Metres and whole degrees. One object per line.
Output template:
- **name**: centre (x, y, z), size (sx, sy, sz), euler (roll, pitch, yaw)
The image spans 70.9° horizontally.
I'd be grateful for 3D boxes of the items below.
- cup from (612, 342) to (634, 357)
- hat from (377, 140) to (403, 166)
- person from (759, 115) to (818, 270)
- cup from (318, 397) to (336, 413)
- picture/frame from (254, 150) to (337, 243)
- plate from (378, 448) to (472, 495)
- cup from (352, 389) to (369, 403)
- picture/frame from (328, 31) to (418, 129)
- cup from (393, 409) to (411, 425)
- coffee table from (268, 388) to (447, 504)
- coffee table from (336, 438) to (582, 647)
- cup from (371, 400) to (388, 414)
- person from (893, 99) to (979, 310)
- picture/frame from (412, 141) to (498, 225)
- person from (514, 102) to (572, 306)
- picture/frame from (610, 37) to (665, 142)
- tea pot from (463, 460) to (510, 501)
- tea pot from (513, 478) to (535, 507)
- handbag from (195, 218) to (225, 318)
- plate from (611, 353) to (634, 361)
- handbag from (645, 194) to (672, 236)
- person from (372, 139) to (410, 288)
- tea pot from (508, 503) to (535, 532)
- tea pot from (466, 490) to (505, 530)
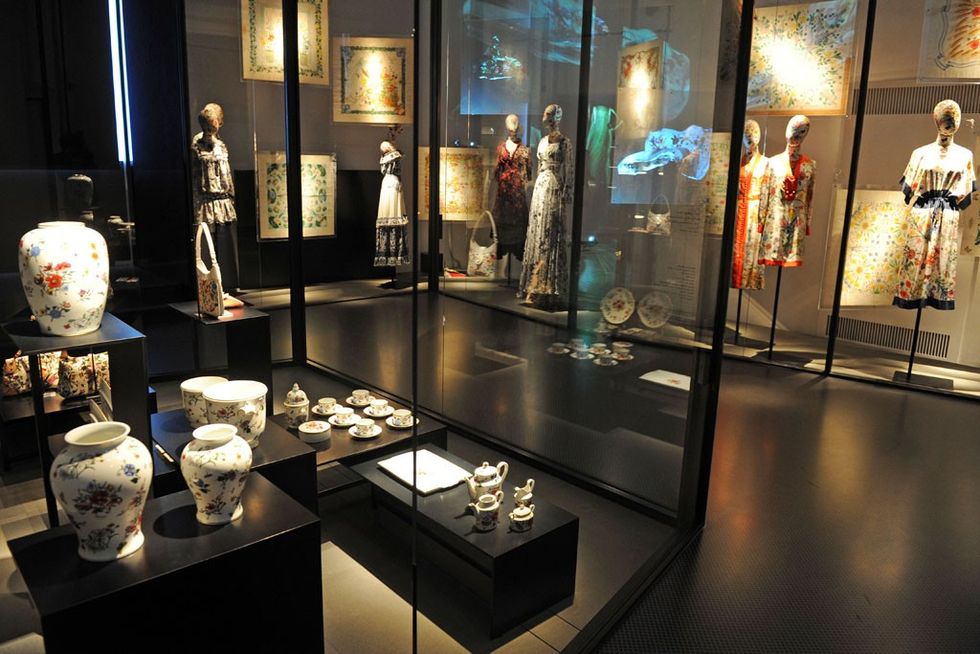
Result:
- **cup**: centre (0.711, 0.119, 3.715), size (0.082, 0.078, 0.082), euler (-1, 7, 0)
- **hat**: centre (-0.767, -1.304, 5.212), size (0.132, 0.117, 0.187), euler (-28, 32, -29)
- **person**: centre (2.704, -1.223, 6.269), size (0.444, 1.345, 0.296), euler (6, 15, 18)
- **cup**: centre (-0.986, 0.474, 4.164), size (0.089, 0.066, 0.089), euler (2, 8, 0)
- **picture/frame**: centre (-1.576, -1.069, 5.555), size (0.721, 0.744, 0.035), euler (-1, 4, -18)
- **plate**: centre (-0.350, 0.732, 3.586), size (0.333, 0.064, 0.463), euler (-18, 25, -40)
- **cup**: centre (-0.816, 0.437, 4.332), size (0.082, 0.059, 0.082), euler (2, 5, 0)
- **picture/frame**: centre (-0.836, -1.805, 5.071), size (0.789, 0.632, 0.195), euler (11, 17, 33)
- **cup**: centre (-0.518, 0.534, 4.071), size (0.084, 0.066, 0.091), euler (1, 3, 0)
- **coffee table**: centre (-0.727, 0.671, 3.888), size (0.703, 0.183, 0.764), euler (-15, 24, -37)
- **coffee table**: centre (-0.188, 1.058, 3.466), size (1.117, 0.606, 0.725), euler (13, 19, 39)
- **cup**: centre (-0.682, 0.494, 4.215), size (0.071, 0.033, 0.070), euler (1, 8, 0)
- **person**: centre (3.703, -0.991, 5.763), size (0.502, 1.703, 0.236), euler (9, 17, 29)
- **picture/frame**: centre (-0.184, -0.821, 3.895), size (0.554, 0.553, 0.043), euler (6, 10, 26)
- **person**: centre (0.310, -0.642, 3.728), size (0.274, 1.080, 0.133), euler (6, 15, 17)
- **picture/frame**: centre (0.773, -1.216, 3.561), size (0.419, 0.401, 0.101), euler (3, 7, 25)
- **tea pot**: centre (-0.016, 0.765, 3.414), size (0.204, 0.145, 0.128), euler (-1, 3, -45)
- **tea pot**: centre (0.150, 0.827, 3.439), size (0.101, 0.141, 0.131), euler (5, 4, 39)
- **handbag**: centre (-1.673, -0.339, 4.089), size (0.152, 0.552, 0.297), euler (-5, 16, -22)
- **plate**: centre (0.711, 0.166, 3.723), size (0.058, 0.010, 0.059), euler (10, 21, 27)
- **handbag**: centre (0.884, -0.575, 3.598), size (0.114, 0.196, 0.193), euler (2, 12, 11)
- **person**: centre (-0.734, -0.826, 5.076), size (0.257, 1.057, 0.599), euler (-1, 15, -9)
- **tea pot**: centre (0.146, 0.920, 3.313), size (0.090, 0.100, 0.113), euler (4, 6, 32)
- **tea pot**: centre (-0.026, 0.869, 3.329), size (0.181, 0.152, 0.131), euler (-1, 3, -25)
